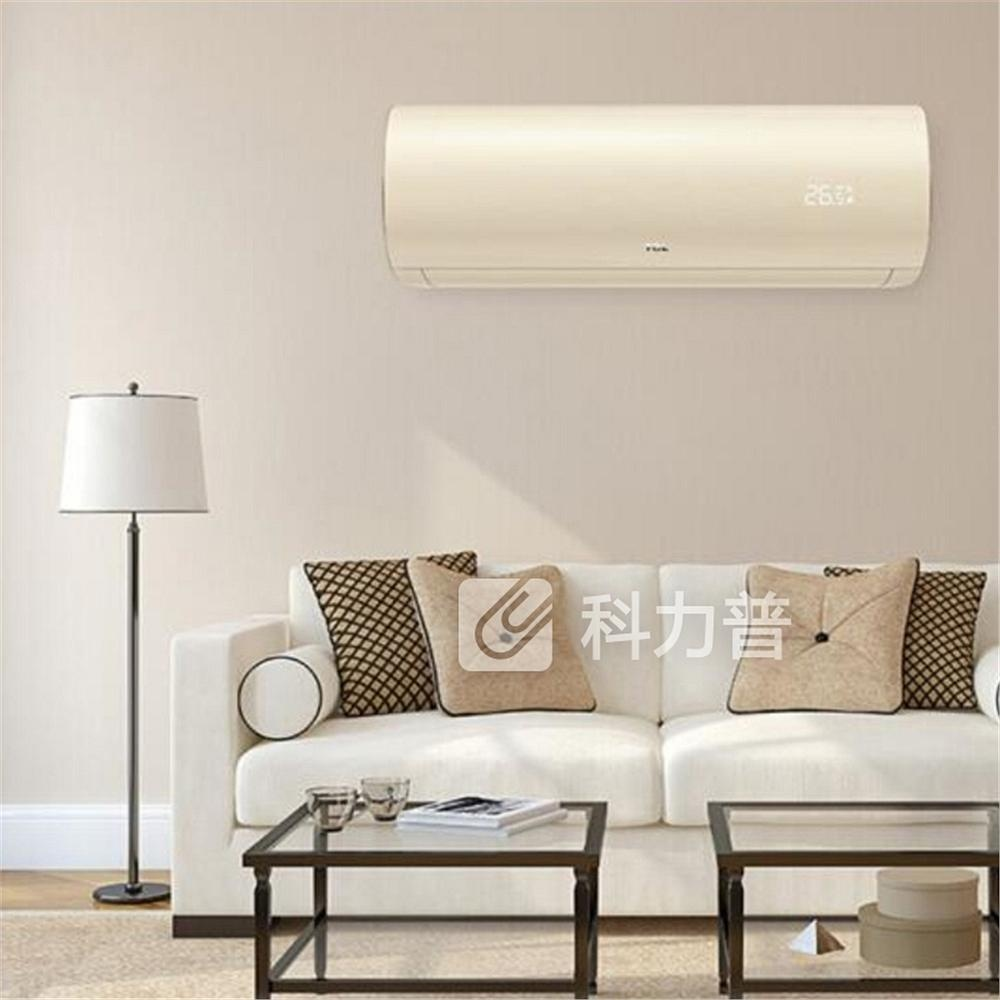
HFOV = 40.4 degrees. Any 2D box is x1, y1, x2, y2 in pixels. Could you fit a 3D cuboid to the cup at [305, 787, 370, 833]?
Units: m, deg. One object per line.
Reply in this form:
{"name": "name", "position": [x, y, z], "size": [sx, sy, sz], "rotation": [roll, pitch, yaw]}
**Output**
{"name": "cup", "position": [-0.279, 0.516, 2.276], "size": [0.061, 0.052, 0.076], "rotation": [-1, -11, 5]}

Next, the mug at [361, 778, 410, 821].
{"name": "mug", "position": [-0.191, 0.498, 2.291], "size": [0.064, 0.052, 0.072], "rotation": [-2, -14, 5]}

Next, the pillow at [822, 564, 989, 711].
{"name": "pillow", "position": [0.809, 0.264, 2.482], "size": [0.278, 0.272, 0.067], "rotation": [0, 8, 11]}

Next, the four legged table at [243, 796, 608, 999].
{"name": "four legged table", "position": [-0.118, 0.666, 2.272], "size": [0.598, 0.322, 0.388], "rotation": [-1, -10, 2]}
